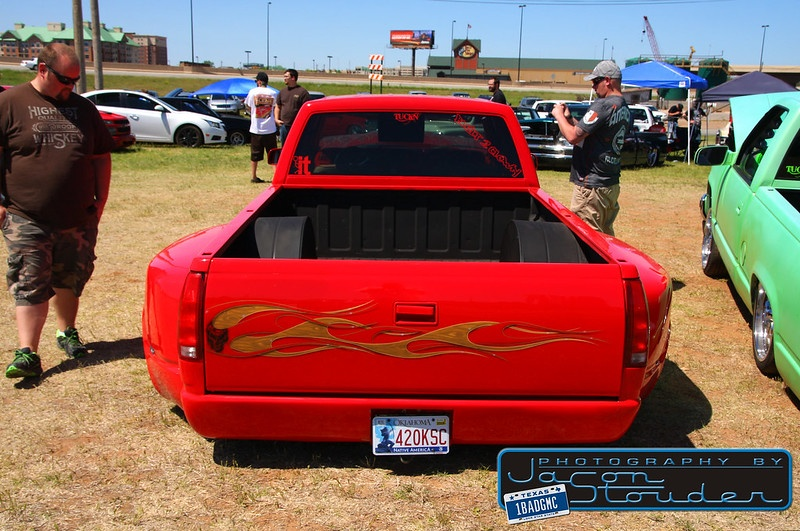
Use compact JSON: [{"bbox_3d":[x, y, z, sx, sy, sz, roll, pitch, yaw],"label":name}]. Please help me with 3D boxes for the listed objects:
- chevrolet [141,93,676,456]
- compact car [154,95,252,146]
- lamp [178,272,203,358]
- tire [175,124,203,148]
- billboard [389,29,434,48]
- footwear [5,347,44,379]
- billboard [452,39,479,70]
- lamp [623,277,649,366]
[{"bbox_3d":[0.071,-0.030,5.590,3.575,2.193,2.561,1,18,1],"label":"chevrolet"},{"bbox_3d":[-4.950,-4.015,20.632,2.737,0.954,1.172,-2,14,-9],"label":"compact car"},{"bbox_3d":[-1.218,0.298,4.482,0.160,0.524,0.114,1,19,2],"label":"lamp"},{"bbox_3d":[-5.369,-3.360,19.376,0.494,0.483,0.175,37,13,-31],"label":"tire"},{"bbox_3d":[2.156,-40.473,135.170,7.978,2.952,1.702,12,22,30],"label":"billboard"},{"bbox_3d":[-2.903,0.768,5.894,0.257,0.273,0.166,-9,21,-27],"label":"footwear"},{"bbox_3d":[12.325,-39.897,142.940,4.542,5.377,3.315,2,19,3],"label":"billboard"},{"bbox_3d":[1.390,0.340,4.507,0.161,0.526,0.133,-1,19,-4],"label":"lamp"}]
